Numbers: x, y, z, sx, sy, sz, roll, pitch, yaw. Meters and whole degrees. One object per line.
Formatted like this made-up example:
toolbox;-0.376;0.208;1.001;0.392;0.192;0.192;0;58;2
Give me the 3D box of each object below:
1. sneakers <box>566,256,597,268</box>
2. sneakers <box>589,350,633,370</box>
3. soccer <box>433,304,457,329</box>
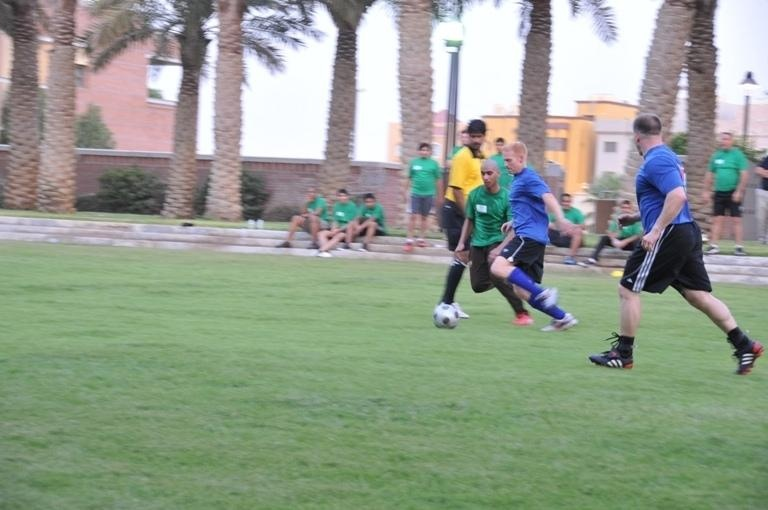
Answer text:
sneakers;3.825;0.125;15.952;0.729;0.216;0.208;-1;5;-9
sneakers;2.213;1.011;7.797;0.506;0.165;0.158;6;-3;5
soccer;0.708;0.703;9.270;0.343;0.241;0.287;1;4;1
